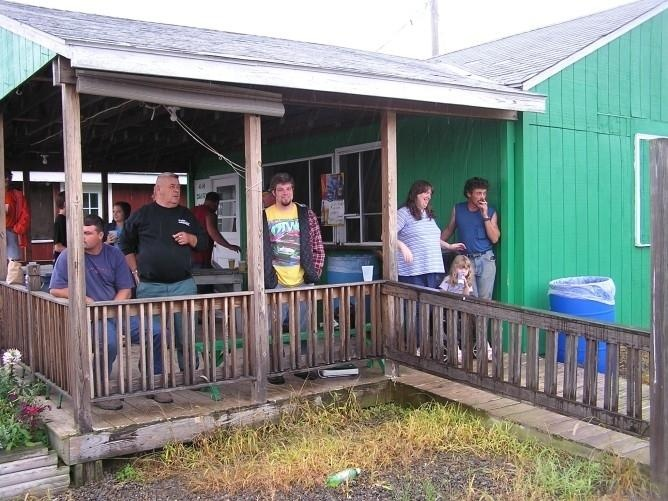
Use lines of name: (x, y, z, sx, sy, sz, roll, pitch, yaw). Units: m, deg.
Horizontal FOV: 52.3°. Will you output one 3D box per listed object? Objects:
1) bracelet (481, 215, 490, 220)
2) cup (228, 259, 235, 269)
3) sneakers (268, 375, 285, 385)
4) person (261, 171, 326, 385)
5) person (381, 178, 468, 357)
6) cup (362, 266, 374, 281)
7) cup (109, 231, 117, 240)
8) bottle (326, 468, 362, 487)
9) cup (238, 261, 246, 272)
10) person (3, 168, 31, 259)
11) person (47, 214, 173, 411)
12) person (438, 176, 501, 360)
bracelet: (1.700, -0.359, 7.588, 0.075, 0.048, 0.139, 0, 6, 27)
cup: (-1.434, 0.191, 9.532, 0.141, 0.147, 0.141, 0, 3, 0)
sneakers: (-0.558, 1.281, 6.687, 0.108, 0.062, 0.172, 4, -9, -44)
person: (-0.391, 0.266, 6.865, 0.577, 2.080, 1.144, -2, 5, -2)
person: (0.959, -0.152, 7.335, 0.404, 1.186, 0.917, 2, 7, 42)
cup: (0.366, 0.249, 7.346, 0.144, 0.164, 0.152, 1, -5, 0)
cup: (-2.873, -0.189, 8.804, 0.073, 0.076, 0.108, -23, 14, -10)
bottle: (0.069, 1.769, 5.352, 0.320, 0.120, 0.091, -14, -7, -35)
cup: (-1.187, 0.208, 8.777, 0.110, 0.128, 0.117, 1, -1, 0)
person: (-4.340, -0.473, 9.291, 0.281, 1.214, 0.674, -4, 5, -21)
person: (-1.995, 0.540, 6.054, 0.957, 1.709, 0.644, -4, 5, -24)
person: (1.535, 0.195, 7.737, 0.684, 1.992, 0.741, 3, 11, 39)
